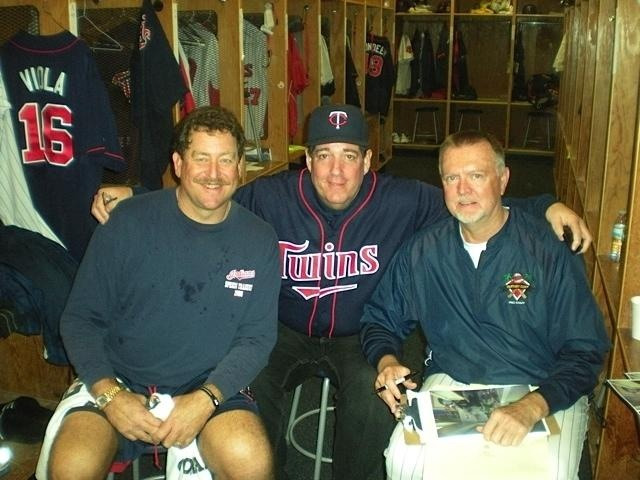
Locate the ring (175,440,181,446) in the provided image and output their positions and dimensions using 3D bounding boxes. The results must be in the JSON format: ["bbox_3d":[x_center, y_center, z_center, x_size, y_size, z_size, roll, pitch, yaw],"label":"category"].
[{"bbox_3d":[-0.590,0.846,2.472,0.010,0.021,0.025,17,-11,-20],"label":"ring"}]

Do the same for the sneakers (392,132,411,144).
[{"bbox_3d":[1.496,-1.888,11.145,0.239,0.137,0.339,0,25,-2],"label":"sneakers"}]

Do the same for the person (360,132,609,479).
[{"bbox_3d":[0.727,0.148,2.598,1.006,1.149,0.802,-4,15,-9],"label":"person"}]

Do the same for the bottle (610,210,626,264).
[{"bbox_3d":[1.612,-0.005,3.229,0.054,0.283,0.232,5,17,24],"label":"bottle"}]

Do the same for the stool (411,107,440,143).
[{"bbox_3d":[2.033,-2.206,11.458,0.511,0.811,0.507,-1,6,-4],"label":"stool"}]

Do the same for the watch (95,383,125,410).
[{"bbox_3d":[-0.877,0.656,2.476,0.076,0.047,0.077,-39,-4,1],"label":"watch"}]
